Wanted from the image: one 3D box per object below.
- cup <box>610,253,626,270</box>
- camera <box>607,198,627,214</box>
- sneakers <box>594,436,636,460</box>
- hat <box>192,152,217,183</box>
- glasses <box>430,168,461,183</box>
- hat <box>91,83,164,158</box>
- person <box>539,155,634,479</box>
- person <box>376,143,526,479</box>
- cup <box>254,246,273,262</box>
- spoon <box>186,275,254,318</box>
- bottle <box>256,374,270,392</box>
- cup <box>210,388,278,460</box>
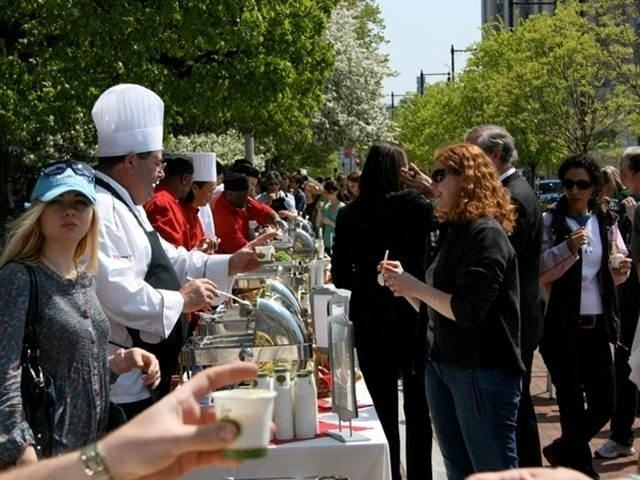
[{"bbox_3d":[2.344,0.161,6.925,0.098,0.083,0.105,0,-5,0],"label":"cup"},{"bbox_3d":[2.753,-0.309,8.166,0.208,0.108,0.296,-1,-4,35],"label":"camera"},{"bbox_3d":[2.481,1.763,7.411,0.335,0.159,0.146,1,-8,-9],"label":"sneakers"},{"bbox_3d":[-1.281,-0.793,9.579,0.331,0.370,0.335,-1,2,6],"label":"hat"},{"bbox_3d":[0.801,-0.423,5.666,0.115,0.048,0.118,9,-10,-11],"label":"glasses"},{"bbox_3d":[-1.307,-0.812,5.994,0.566,0.472,0.425,-1,6,-11],"label":"hat"},{"bbox_3d":[2.047,0.587,6.920,0.620,2.527,0.919,-3,-3,43],"label":"person"},{"bbox_3d":[0.901,0.482,5.629,0.767,2.215,0.595,-2,-2,22],"label":"person"},{"bbox_3d":[-0.416,0.096,6.332,0.117,0.099,0.095,-4,-1,-1],"label":"cup"},{"bbox_3d":[-0.662,0.376,5.617,0.410,0.130,0.204,12,9,2],"label":"spoon"},{"bbox_3d":[-0.325,0.805,4.995,0.090,0.092,0.089,2,5,6],"label":"bottle"},{"bbox_3d":[-0.305,0.698,3.383,0.241,0.215,0.246,0,-6,0],"label":"cup"}]
